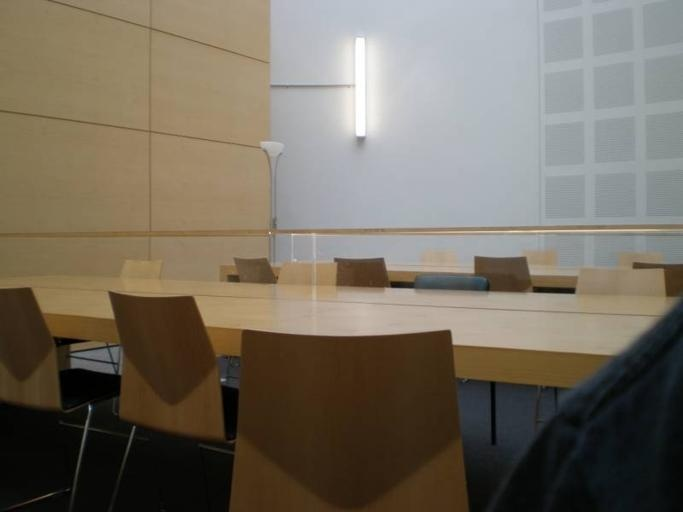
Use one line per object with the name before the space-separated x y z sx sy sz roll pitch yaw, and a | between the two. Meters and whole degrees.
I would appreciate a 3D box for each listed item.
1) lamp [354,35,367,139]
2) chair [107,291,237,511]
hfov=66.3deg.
lamp | 0.244 -2.108 6.509 0.157 1.243 0.177 -1 7 -11
chair | -0.530 0.360 1.617 0.353 0.740 0.486 2 3 17
